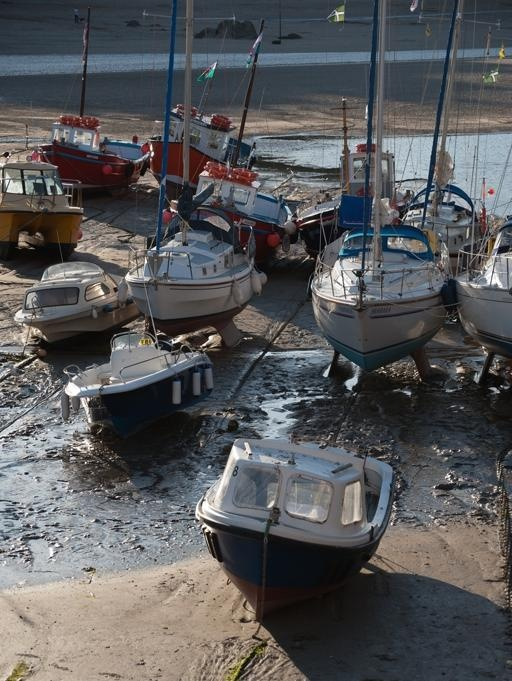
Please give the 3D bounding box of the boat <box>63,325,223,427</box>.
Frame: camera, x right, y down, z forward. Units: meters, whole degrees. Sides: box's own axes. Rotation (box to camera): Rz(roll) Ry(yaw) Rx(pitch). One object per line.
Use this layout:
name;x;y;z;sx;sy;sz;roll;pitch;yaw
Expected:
boat;-1.599;0.608;8.880;1.352;0.877;2.075;5;18;24

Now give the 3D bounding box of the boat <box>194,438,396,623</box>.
boat;0.446;1.384;5.270;1.118;0.836;1.862;7;14;12
